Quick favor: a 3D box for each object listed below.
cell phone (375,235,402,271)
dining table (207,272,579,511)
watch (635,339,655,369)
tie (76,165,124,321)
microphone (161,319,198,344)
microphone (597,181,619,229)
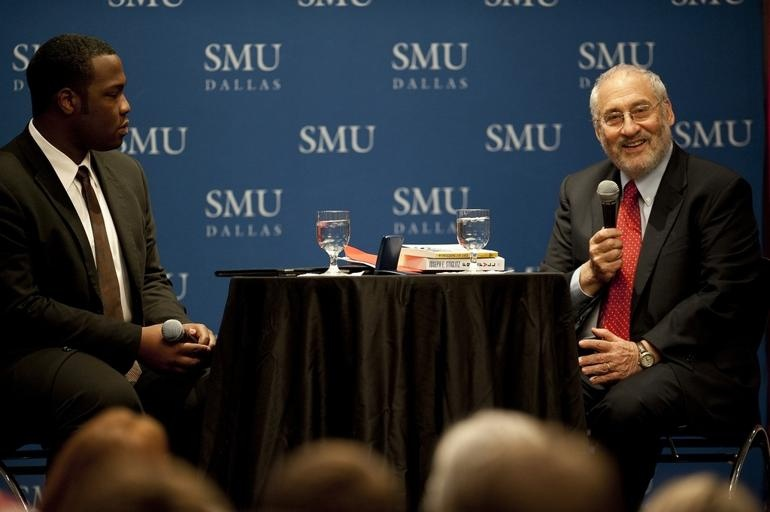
[{"bbox_3d":[0.012,-0.010,3.052,0.108,0.133,0.130,-2,8,-1],"label":"cell phone"},{"bbox_3d":[0.051,0.400,2.825,0.963,0.564,0.976,0,-1,-10],"label":"dining table"},{"bbox_3d":[1.029,0.398,3.162,0.060,0.105,0.095,-7,6,-1],"label":"watch"},{"bbox_3d":[-1.146,-0.038,3.222,0.115,0.882,0.096,-11,-11,-11],"label":"tie"},{"bbox_3d":[-0.800,0.300,3.079,0.146,0.110,0.074,-6,9,-27],"label":"microphone"},{"bbox_3d":[0.915,-0.211,3.242,0.073,0.201,0.274,0,9,15],"label":"microphone"}]
